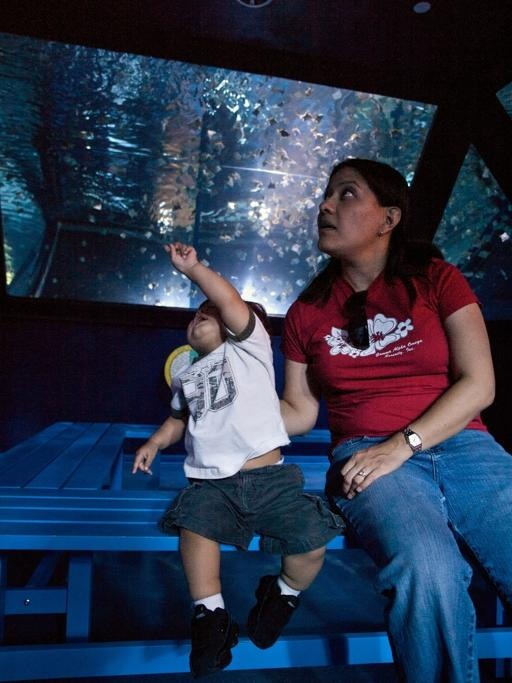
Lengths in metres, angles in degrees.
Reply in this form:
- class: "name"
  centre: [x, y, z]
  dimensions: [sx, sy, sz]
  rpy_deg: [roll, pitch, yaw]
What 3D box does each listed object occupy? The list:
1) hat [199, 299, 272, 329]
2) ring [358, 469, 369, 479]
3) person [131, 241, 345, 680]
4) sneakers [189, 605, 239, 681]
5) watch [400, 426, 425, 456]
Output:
- class: "hat"
  centre: [-0.062, -0.098, 1.714]
  dimensions: [0.167, 0.106, 0.134]
  rpy_deg: [8, 6, -18]
- class: "ring"
  centre: [0.263, 0.324, 1.325]
  dimensions: [0.021, 0.005, 0.020]
  rpy_deg: [-15, 38, 12]
- class: "person"
  centre: [-0.014, 0.263, 1.374]
  dimensions: [0.410, 0.837, 0.763]
  rpy_deg: [0, 28, -25]
- class: "sneakers"
  centre: [-0.077, 0.633, 1.127]
  dimensions: [0.080, 0.183, 0.083]
  rpy_deg: [-9, 71, 0]
- class: "watch"
  centre: [0.388, 0.244, 1.334]
  dimensions: [0.040, 0.051, 0.060]
  rpy_deg: [-24, 51, -8]
